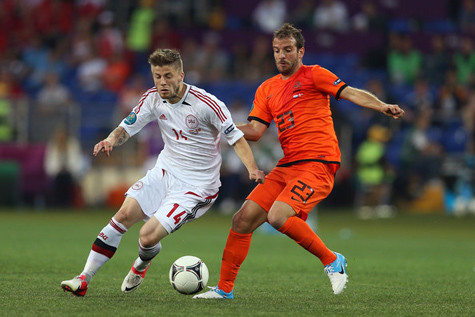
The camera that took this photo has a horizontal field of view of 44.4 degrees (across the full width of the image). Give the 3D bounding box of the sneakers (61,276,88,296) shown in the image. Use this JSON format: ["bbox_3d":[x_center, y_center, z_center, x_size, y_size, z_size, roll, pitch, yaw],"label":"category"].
[{"bbox_3d":[-2.220,1.767,8.186,0.185,0.281,0.475,54,15,29],"label":"sneakers"}]

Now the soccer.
[{"bbox_3d":[-0.690,1.704,8.498,0.511,0.523,0.514,13,-12,24],"label":"soccer"}]

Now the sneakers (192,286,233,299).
[{"bbox_3d":[-0.358,1.954,8.424,0.578,0.228,0.207,5,-18,-4],"label":"sneakers"}]
